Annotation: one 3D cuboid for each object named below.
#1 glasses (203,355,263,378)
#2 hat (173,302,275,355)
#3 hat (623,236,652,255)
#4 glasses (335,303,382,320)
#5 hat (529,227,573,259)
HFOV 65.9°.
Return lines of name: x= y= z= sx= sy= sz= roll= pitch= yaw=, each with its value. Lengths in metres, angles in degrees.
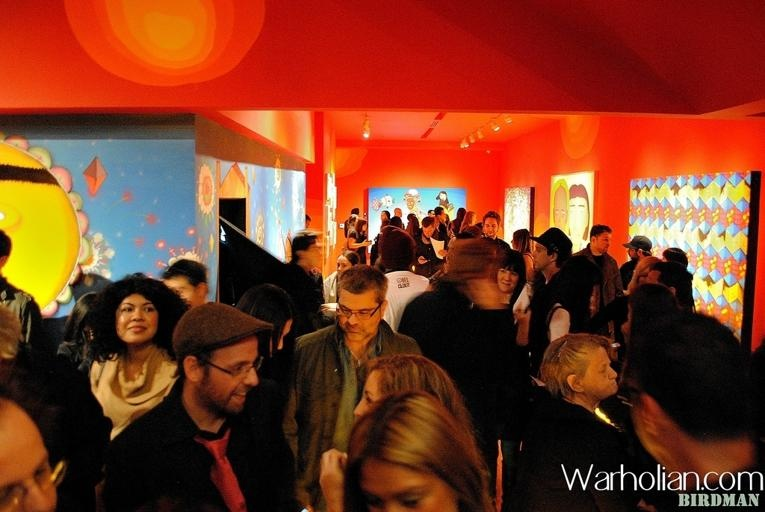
glasses: x=-0.625 y=0.476 z=2.522 sx=0.110 sy=0.032 sz=0.111 roll=13 pitch=5 yaw=29
hat: x=-0.685 y=0.342 z=2.554 sx=0.325 sy=0.165 sz=0.235 roll=-17 pitch=7 yaw=-4
hat: x=2.820 y=-0.100 z=6.603 sx=0.271 sy=0.160 sz=0.200 roll=20 pitch=23 yaw=38
glasses: x=-0.115 y=0.278 z=2.964 sx=0.235 sy=0.107 sz=0.097 roll=4 pitch=4 yaw=4
hat: x=1.298 y=-0.078 z=4.563 sx=0.247 sy=0.095 sz=0.206 roll=33 pitch=9 yaw=29
